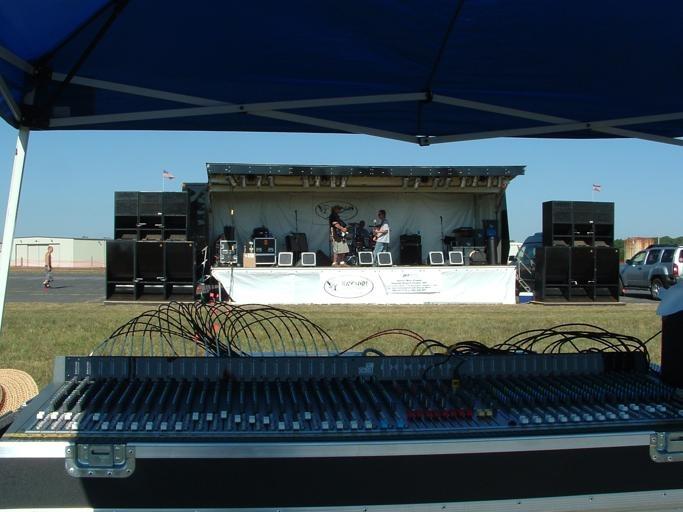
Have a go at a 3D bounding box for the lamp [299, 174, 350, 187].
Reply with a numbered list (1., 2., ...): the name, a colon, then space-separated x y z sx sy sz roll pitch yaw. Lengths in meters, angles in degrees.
1. lamp: -0.384 -1.693 15.998 1.123 0.235 0.559 0 -1 -6

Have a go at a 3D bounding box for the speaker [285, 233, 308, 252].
1. speaker: -1.044 -0.304 16.087 0.379 0.373 0.218 2 -21 -19

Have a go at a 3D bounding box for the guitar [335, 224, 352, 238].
1. guitar: 0.026 -0.557 14.673 0.278 0.200 0.257 23 -16 -25

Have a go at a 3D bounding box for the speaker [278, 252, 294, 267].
1. speaker: -1.080 0.066 13.484 0.260 0.237 0.346 0 -1 -10

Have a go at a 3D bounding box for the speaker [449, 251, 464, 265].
1. speaker: 2.309 0.032 14.120 0.264 0.277 1.088 0 -1 8

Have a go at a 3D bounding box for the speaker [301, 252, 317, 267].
1. speaker: -0.646 0.066 13.557 0.271 0.265 0.270 -1 2 0

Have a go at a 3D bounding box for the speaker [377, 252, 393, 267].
1. speaker: 0.813 0.062 13.455 0.226 0.217 0.118 4 -23 -23

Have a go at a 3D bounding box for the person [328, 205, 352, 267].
1. person: -0.031 -0.445 14.860 0.414 1.258 0.516 -2 -1 23

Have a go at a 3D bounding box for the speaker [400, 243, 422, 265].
1. speaker: 1.597 -0.035 16.322 0.725 0.682 0.395 0 -1 -1

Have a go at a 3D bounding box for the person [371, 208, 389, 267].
1. person: 0.822 -0.365 14.547 0.486 1.208 0.488 6 13 21

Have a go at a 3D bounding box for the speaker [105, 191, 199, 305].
1. speaker: -3.332 -0.180 12.263 1.507 1.874 0.607 0 -2 -19

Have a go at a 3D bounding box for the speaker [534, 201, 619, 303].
1. speaker: 4.277 -0.013 12.651 1.803 2.453 0.800 0 -4 -3

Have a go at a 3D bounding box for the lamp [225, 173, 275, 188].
1. lamp: -2.030 -1.670 15.605 1.085 0.243 0.717 0 -1 -6
